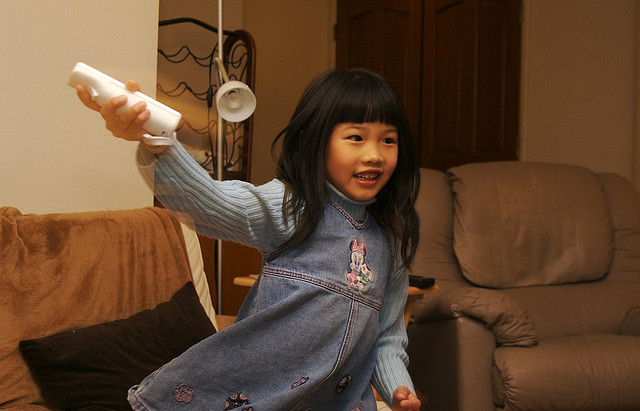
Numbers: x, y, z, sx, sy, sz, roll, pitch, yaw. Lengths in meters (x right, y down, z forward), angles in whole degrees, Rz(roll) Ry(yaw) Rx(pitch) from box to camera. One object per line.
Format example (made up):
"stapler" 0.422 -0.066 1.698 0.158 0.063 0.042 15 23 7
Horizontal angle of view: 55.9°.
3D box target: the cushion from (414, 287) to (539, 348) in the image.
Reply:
"cushion" 0.754 0.475 2.743 0.307 0.138 0.326 -1 16 -7

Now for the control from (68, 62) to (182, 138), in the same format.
"control" -0.552 -0.299 1.706 0.313 0.214 0.047 0 1 5

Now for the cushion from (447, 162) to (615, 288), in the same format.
"cushion" 1.156 0.110 3.175 0.671 0.723 0.187 -1 -16 -13
